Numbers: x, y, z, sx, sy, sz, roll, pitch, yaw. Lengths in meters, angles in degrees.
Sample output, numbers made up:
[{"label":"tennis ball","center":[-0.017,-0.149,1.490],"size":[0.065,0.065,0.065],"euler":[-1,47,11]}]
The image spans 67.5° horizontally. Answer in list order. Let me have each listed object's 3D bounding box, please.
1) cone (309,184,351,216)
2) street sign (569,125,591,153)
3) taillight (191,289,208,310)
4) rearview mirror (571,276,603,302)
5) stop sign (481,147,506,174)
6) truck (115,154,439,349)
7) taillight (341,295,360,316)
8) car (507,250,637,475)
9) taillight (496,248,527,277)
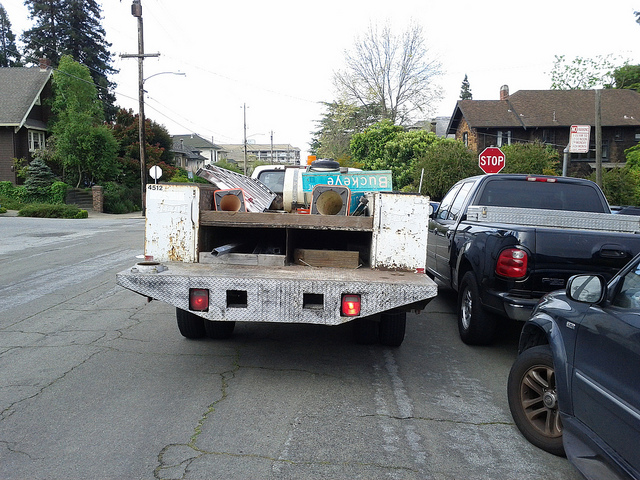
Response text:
[{"label":"cone","center":[0.131,-0.512,5.745],"size":[0.391,0.402,0.143],"euler":[5,8,0]},{"label":"street sign","center":[8.848,-3.460,16.271],"size":[0.579,0.927,1.093],"euler":[5,8,26]},{"label":"taillight","center":[-1.162,0.567,4.603],"size":[0.178,0.183,0.048],"euler":[-1,7,12]},{"label":"rearview mirror","center":[1.941,0.349,3.458],"size":[0.015,0.203,0.199],"euler":[11,-7,-31]},{"label":"stop sign","center":[5.721,-2.646,15.854],"size":[0.710,0.806,0.823],"euler":[3,7,16]},{"label":"truck","center":[-0.342,0.135,6.001],"size":[3.023,2.386,3.072],"euler":[2,7,3]},{"label":"taillight","center":[0.291,0.612,4.521],"size":[0.191,0.225,0.109],"euler":[1,2,1]},{"label":"car","center":[1.900,0.892,3.654],"size":[0.834,0.972,1.666],"euler":[2,8,7]},{"label":"taillight","center":[2.139,0.262,5.338],"size":[0.277,0.277,0.262],"euler":[-3,1,-34]}]
